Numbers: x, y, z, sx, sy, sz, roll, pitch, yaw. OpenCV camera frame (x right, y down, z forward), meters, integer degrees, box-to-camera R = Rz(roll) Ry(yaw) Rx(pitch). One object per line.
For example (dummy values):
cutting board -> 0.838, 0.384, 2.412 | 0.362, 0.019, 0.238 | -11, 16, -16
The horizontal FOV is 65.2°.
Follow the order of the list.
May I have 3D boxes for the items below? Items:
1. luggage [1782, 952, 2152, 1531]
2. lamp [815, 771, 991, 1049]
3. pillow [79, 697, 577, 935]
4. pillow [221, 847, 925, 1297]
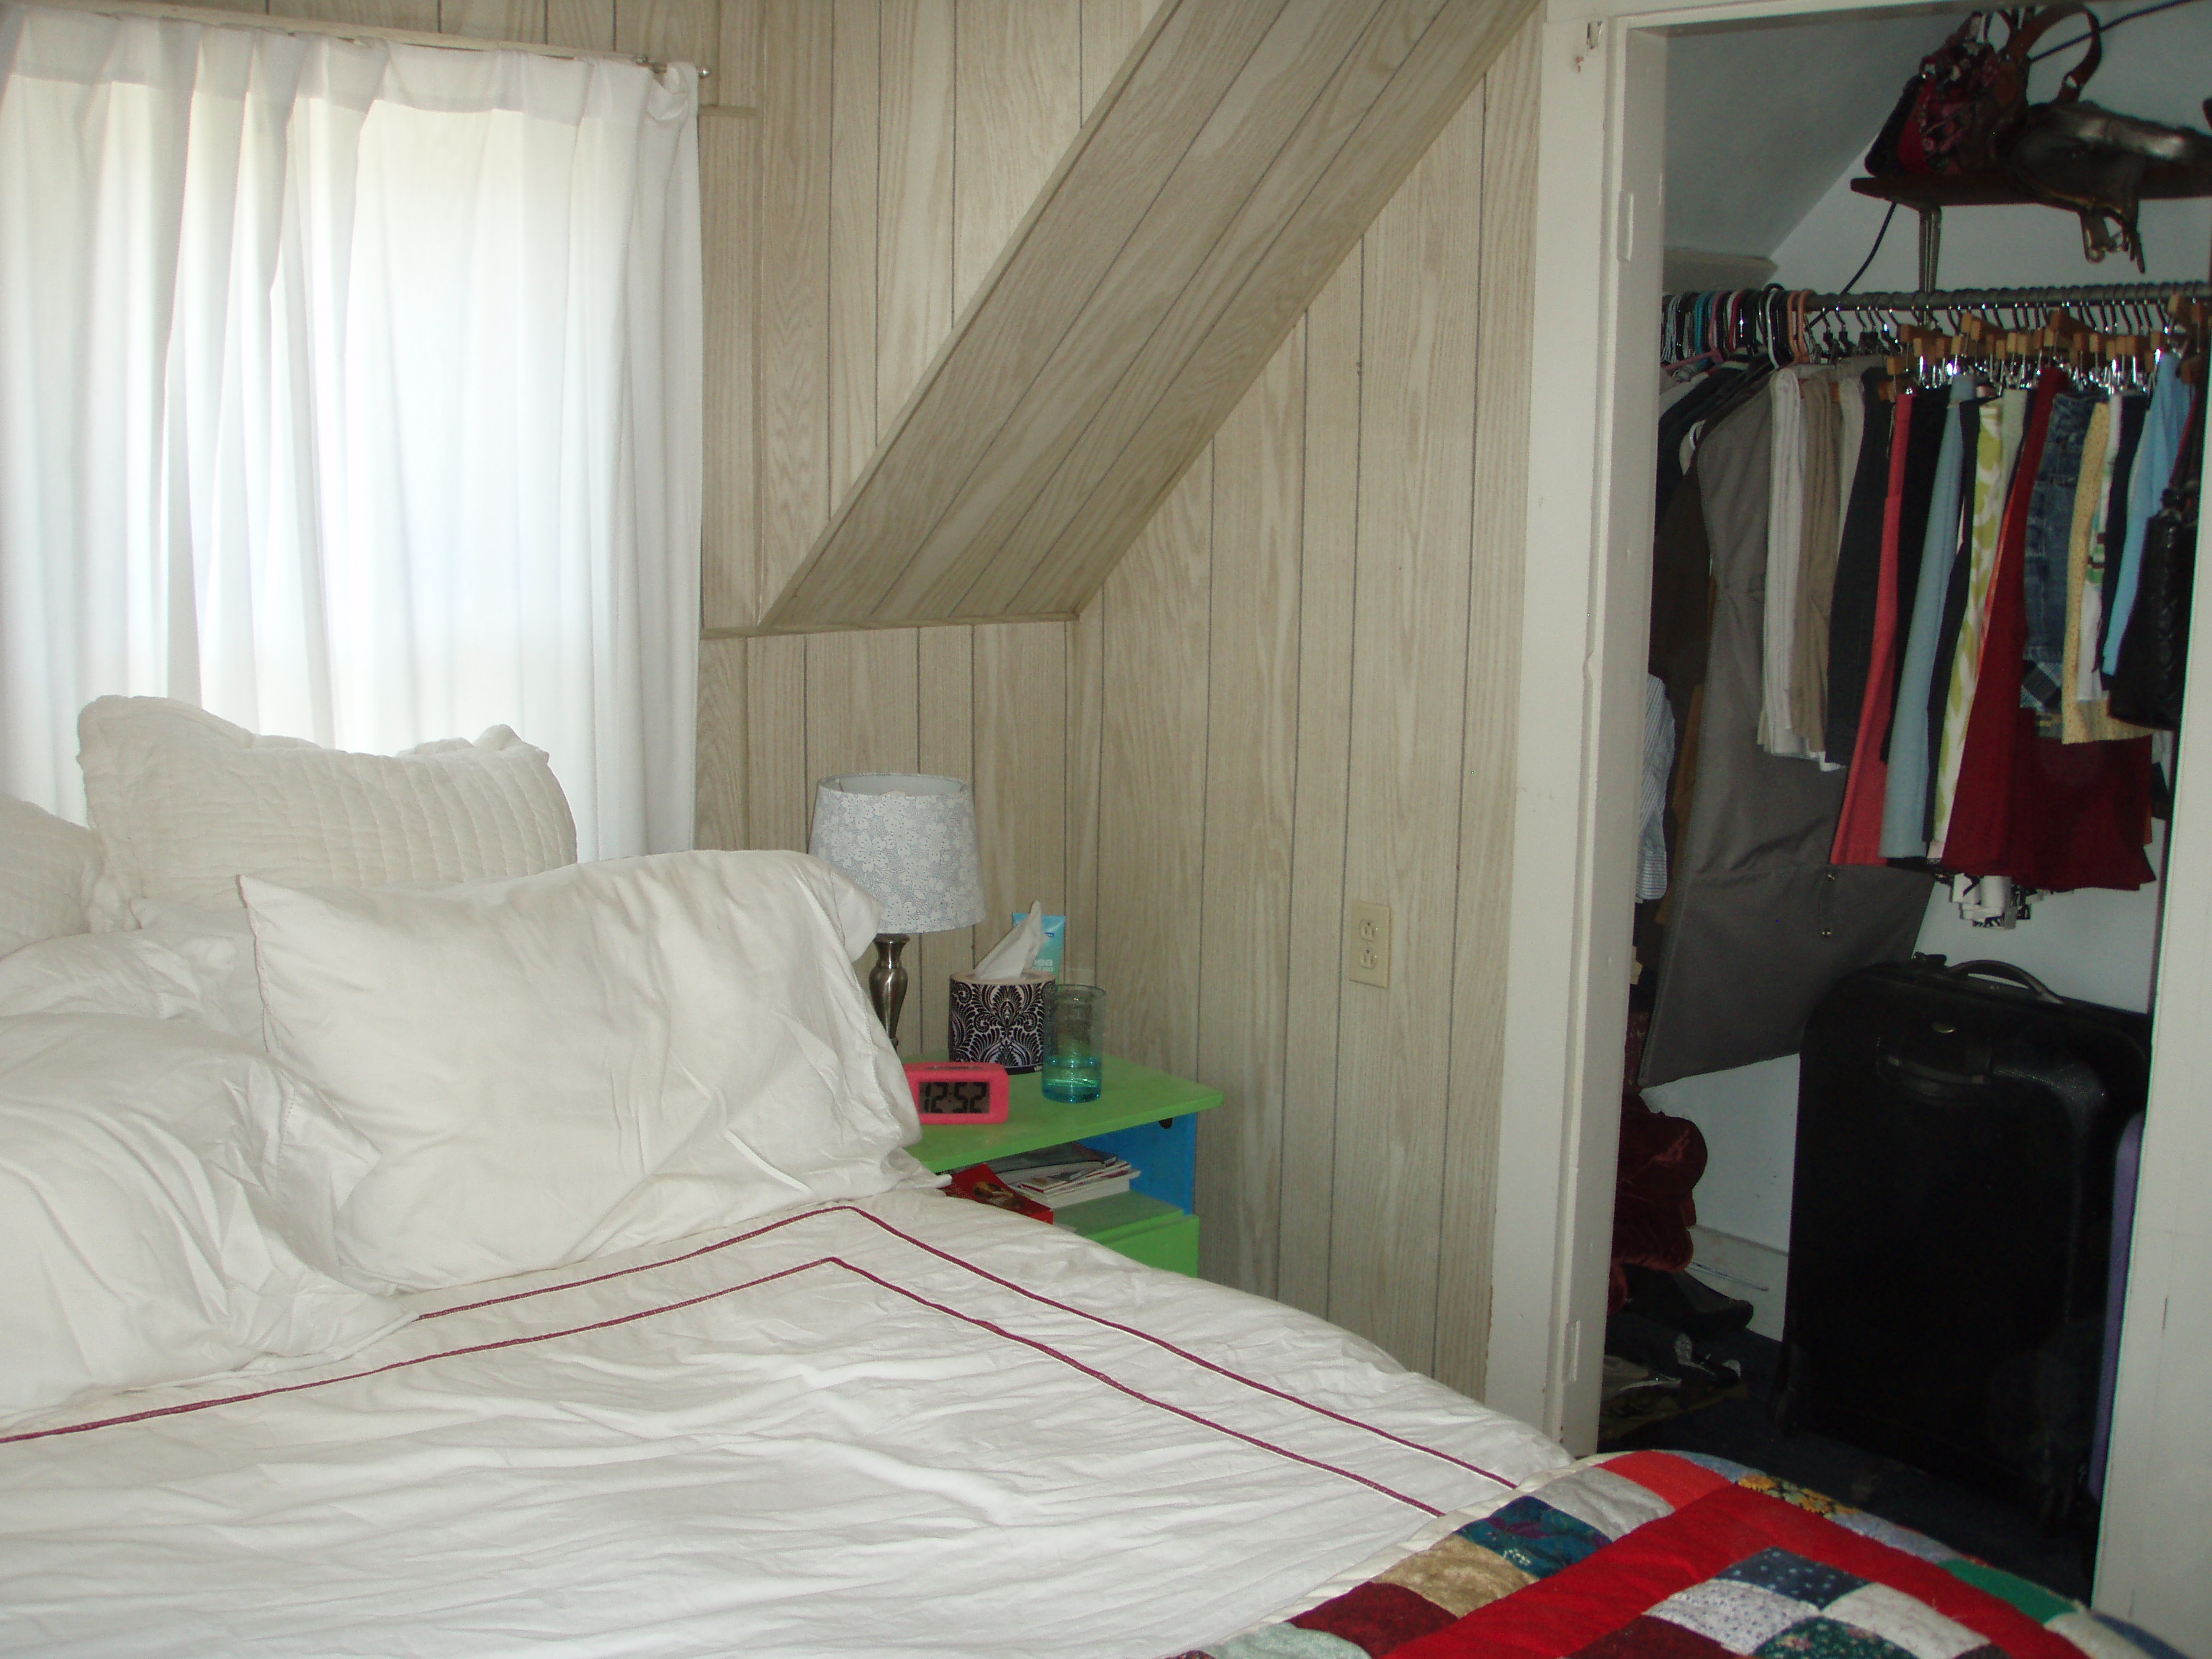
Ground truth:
luggage -> 1.660, 0.771, 3.350 | 0.501, 0.920, 0.590 | -11, 14, -41
lamp -> -0.322, 0.120, 2.801 | 0.377, 0.624, 0.382 | 0, 5, -3
pillow -> -1.023, -0.015, 2.251 | 0.746, 0.404, 0.352 | -2, 6, -43
pillow -> -0.652, 0.277, 2.162 | 0.457, 0.354, 0.896 | 42, 29, 29
